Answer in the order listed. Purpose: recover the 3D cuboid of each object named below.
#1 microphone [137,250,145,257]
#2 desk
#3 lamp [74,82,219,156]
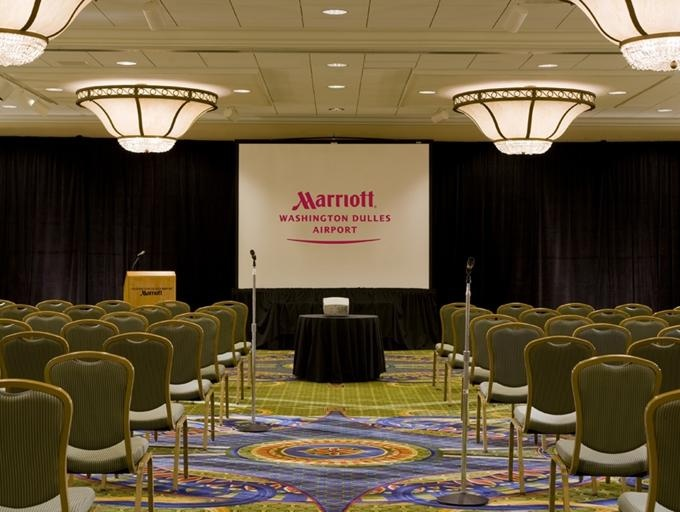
[{"bbox_3d":[-4.647,-0.070,12.101,0.092,0.129,0.033,4,28,0],"label":"microphone"},{"bbox_3d":[0.027,1.499,8.309,1.141,0.754,1.155,0,-6,-4],"label":"desk"},{"bbox_3d":[-3.393,-2.504,9.310,1.550,0.627,1.560,0,-1,-10],"label":"lamp"}]
